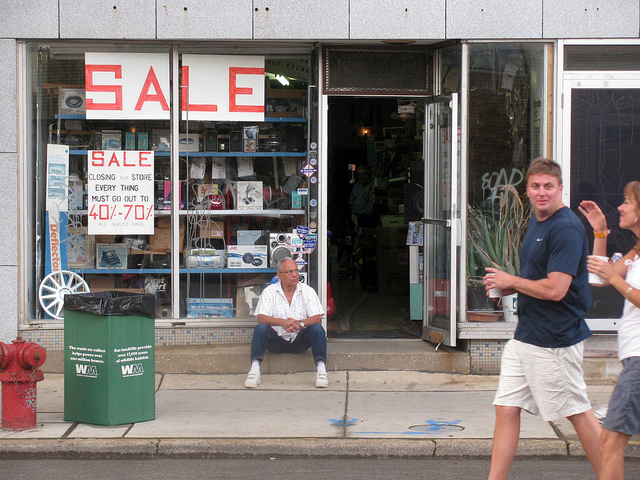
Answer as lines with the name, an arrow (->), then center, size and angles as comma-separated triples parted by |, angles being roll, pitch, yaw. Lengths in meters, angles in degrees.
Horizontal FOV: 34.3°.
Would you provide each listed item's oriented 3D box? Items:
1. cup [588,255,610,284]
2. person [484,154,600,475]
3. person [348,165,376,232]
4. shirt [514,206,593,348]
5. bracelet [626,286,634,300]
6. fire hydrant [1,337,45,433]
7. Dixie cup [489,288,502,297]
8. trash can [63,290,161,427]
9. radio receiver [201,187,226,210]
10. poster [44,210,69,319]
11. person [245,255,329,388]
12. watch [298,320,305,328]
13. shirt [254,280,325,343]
cup -> 2.349, 0.244, 8.526 | 0.205, 0.211, 0.215 | 4, -1, 0
person -> 1.821, 0.608, 8.449 | 0.882, 2.524, 0.484 | -1, 4, 9
person -> 0.726, -0.682, 17.327 | 0.400, 1.096, 1.230 | -2, 4, -1
shirt -> 1.911, 0.298, 8.511 | 0.607, 1.138, 0.340 | -1, 4, 13
bracelet -> 2.486, 0.428, 8.273 | 0.054, 0.101, 0.052 | -1, 4, 15
fire hydrant -> -2.780, 1.369, 9.715 | 0.409, 0.841, 0.230 | -3, 4, -16
Dixie cup -> 1.456, 0.434, 8.521 | 0.102, 0.092, 0.149 | -1, 4, 9
trash can -> -1.992, 1.071, 10.021 | 0.925, 1.197, 0.819 | 1, 11, -44
radio receiver -> -1.227, -0.477, 12.066 | 0.312, 0.294, 0.186 | -1, 5, -6
poster -> -2.991, 0.035, 11.776 | 0.294, 0.754, 0.074 | -3, 4, -14
person -> -0.369, 0.893, 11.259 | 0.870, 1.350, 0.587 | -2, 4, -3
watch -> -0.187, 0.923, 11.351 | 0.052, 0.081, 0.120 | -2, 4, -3
shirt -> -0.333, 0.760, 11.488 | 0.776, 0.646, 0.359 | 1, 0, -1
